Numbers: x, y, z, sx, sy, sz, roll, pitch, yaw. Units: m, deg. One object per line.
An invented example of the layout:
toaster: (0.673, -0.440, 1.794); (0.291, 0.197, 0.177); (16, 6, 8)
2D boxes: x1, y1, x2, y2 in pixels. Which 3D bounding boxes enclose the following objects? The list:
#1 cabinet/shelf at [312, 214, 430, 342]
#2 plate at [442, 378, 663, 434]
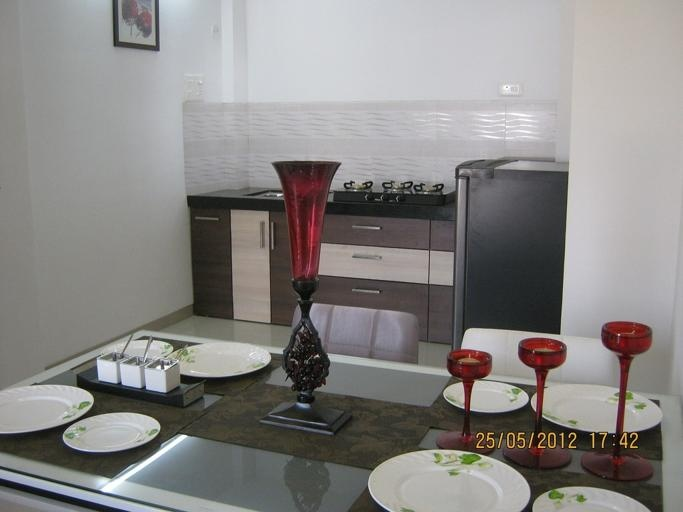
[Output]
cabinet/shelf: (0.238, 0.097, 3.353); (0.926, 0.863, 0.363); (3, 7, 17)
plate: (0.588, 0.401, 1.427); (0.308, 0.014, 0.198); (2, 10, 24)
